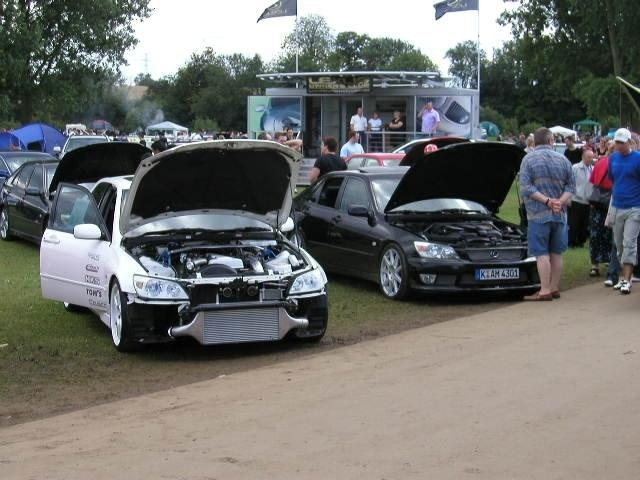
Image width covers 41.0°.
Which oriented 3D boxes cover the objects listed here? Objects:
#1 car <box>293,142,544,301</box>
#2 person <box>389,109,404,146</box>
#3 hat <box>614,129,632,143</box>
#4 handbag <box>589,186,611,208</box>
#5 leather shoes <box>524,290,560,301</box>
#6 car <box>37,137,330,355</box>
[{"bbox_3d":[1.297,-0.333,13.093,1.819,1.953,3.802,-2,5,-29],"label":"car"},{"bbox_3d":[2.821,-3.993,31.439,0.517,1.667,0.450,27,44,36],"label":"person"},{"bbox_3d":[4.135,-1.424,11.630,0.159,0.136,0.252,3,12,20],"label":"hat"},{"bbox_3d":[4.483,-0.685,13.608,0.321,0.307,0.149,17,12,21],"label":"handbag"},{"bbox_3d":[3.031,0.775,11.630,0.457,0.164,0.178,1,1,7],"label":"leather shoes"},{"bbox_3d":[-1.605,0.020,10.089,3.341,2.413,2.149,-2,10,0],"label":"car"}]
